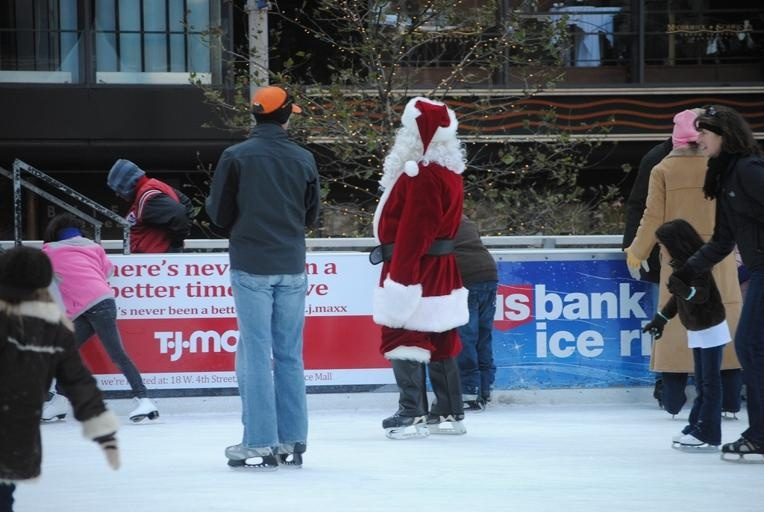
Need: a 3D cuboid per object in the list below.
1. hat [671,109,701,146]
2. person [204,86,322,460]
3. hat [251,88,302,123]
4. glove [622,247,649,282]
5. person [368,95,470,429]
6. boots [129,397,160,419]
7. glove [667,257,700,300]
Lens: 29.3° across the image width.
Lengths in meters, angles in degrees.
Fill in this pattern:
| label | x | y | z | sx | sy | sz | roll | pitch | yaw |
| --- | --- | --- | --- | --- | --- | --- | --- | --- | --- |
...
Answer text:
| label | x | y | z | sx | sy | sz | roll | pitch | yaw |
| --- | --- | --- | --- | --- | --- | --- | --- | --- | --- |
| hat | 3.314 | -1.408 | 16.280 | 0.324 | 0.341 | 0.419 | -12 | 5 | -24 |
| person | -1.201 | 0.218 | 14.727 | 1.075 | 3.792 | 0.723 | -3 | 7 | -6 |
| hat | -1.062 | -1.571 | 14.930 | 0.337 | 0.235 | 0.486 | 28 | 34 | 37 |
| glove | 2.882 | 0.113 | 16.661 | 0.104 | 0.234 | 0.353 | -19 | 52 | -13 |
| person | 0.382 | 0.134 | 15.461 | 1.032 | 3.561 | 0.576 | -2 | 7 | -3 |
| boots | -2.653 | 1.715 | 16.219 | 0.312 | 0.264 | 0.158 | -3 | 7 | -10 |
| glove | 3.064 | 0.247 | 15.191 | 0.344 | 0.415 | 0.182 | -23 | -3 | 0 |
